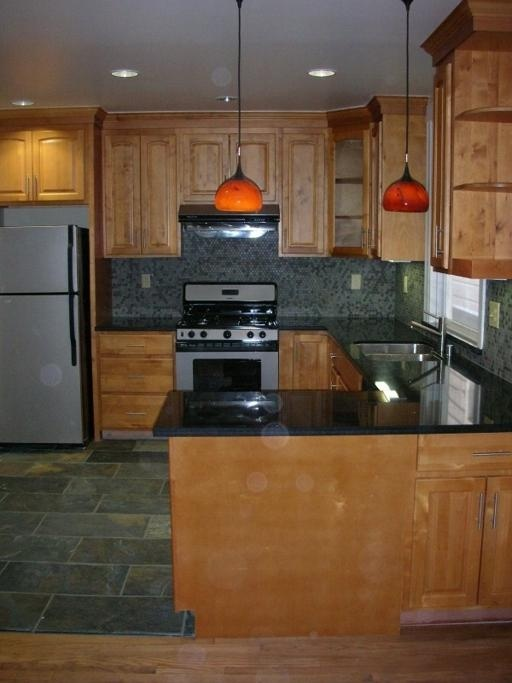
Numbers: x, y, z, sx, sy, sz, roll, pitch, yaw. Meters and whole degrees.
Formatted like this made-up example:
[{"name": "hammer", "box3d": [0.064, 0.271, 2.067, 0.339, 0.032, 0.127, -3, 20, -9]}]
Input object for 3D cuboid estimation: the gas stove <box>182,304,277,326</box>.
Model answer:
[{"name": "gas stove", "box3d": [-0.197, -0.219, 4.732, 0.792, 0.136, 0.600, -1, 7, -6]}]
